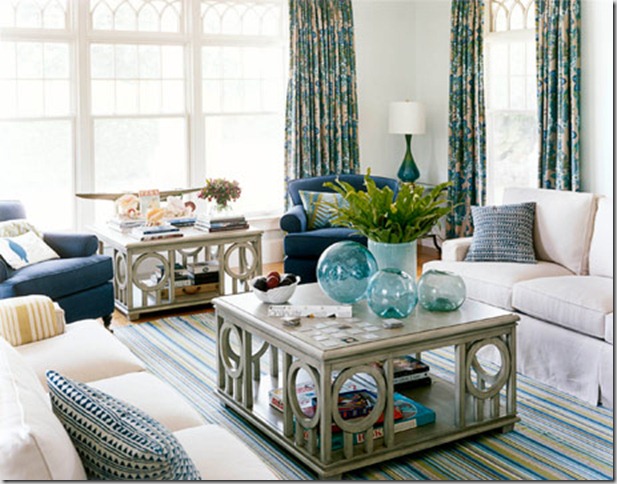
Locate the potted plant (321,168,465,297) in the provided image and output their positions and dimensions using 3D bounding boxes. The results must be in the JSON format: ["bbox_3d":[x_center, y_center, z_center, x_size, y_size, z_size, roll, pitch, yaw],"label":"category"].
[{"bbox_3d":[0.513,-0.098,3.027,0.813,0.745,0.842,0,2,-10],"label":"potted plant"}]

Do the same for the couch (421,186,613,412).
[{"bbox_3d":[1.278,0.357,3.117,0.728,0.866,1.271,-1,5,-17],"label":"couch"}]

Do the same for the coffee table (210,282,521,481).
[{"bbox_3d":[0.351,0.608,2.526,0.987,0.506,0.991,-5,9,-32],"label":"coffee table"}]

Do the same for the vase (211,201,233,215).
[{"bbox_3d":[-0.784,-0.298,4.595,0.128,0.082,0.129,4,5,33],"label":"vase"}]

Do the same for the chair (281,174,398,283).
[{"bbox_3d":[0.234,-0.130,5.138,1.125,1.113,1.147,-2,7,-14],"label":"chair"}]

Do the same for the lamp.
[{"bbox_3d":[1.212,-1.217,6.306,0.503,0.968,0.507,-12,17,-26],"label":"lamp"}]

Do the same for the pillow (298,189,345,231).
[{"bbox_3d":[0.087,-0.301,4.924,0.377,0.376,0.115,-3,0,11],"label":"pillow"}]

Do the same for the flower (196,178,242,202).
[{"bbox_3d":[-0.800,-0.443,4.582,0.255,0.179,0.251,0,3,-24],"label":"flower"}]
